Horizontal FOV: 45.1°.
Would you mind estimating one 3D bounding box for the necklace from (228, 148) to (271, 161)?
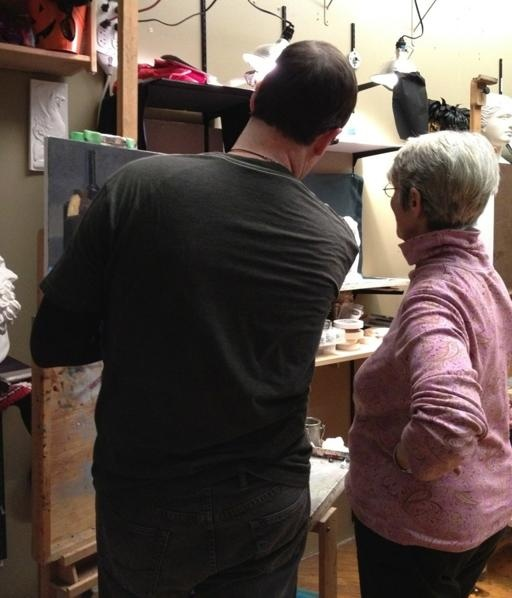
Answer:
[{"bbox_3d":[-0.015,-0.255,1.088,0.049,0.011,0.035,14,3,-8],"label":"necklace"}]

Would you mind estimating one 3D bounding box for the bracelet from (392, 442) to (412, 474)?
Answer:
[{"bbox_3d":[0.310,0.342,1.334,0.022,0.058,0.051,-13,10,16],"label":"bracelet"}]
